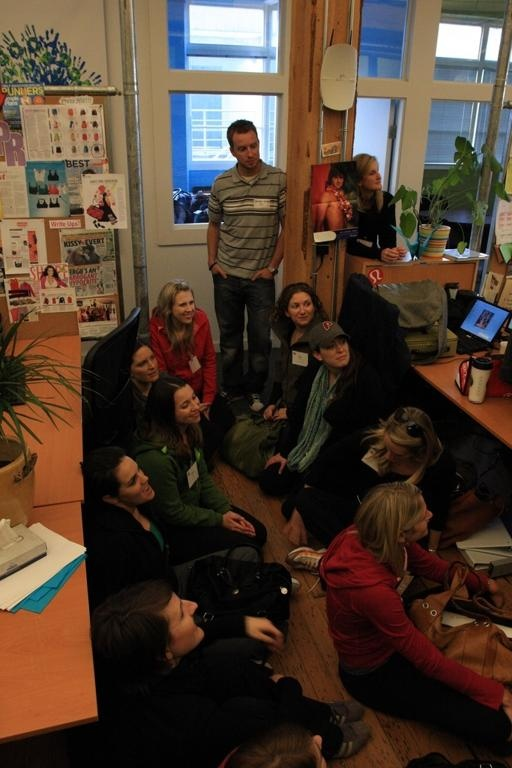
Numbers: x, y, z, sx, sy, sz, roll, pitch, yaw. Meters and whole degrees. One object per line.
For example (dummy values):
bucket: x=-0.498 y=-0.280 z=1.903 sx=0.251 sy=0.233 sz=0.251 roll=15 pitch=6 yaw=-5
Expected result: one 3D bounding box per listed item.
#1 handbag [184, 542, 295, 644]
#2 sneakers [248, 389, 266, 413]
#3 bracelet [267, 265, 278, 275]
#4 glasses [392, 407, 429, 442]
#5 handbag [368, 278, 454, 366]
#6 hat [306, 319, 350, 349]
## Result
handbag: x=-0.053 y=0.789 z=2.004 sx=0.324 sy=0.139 sz=0.294 roll=-1 pitch=29 yaw=-8
sneakers: x=0.014 y=0.151 z=4.100 sx=0.069 sy=0.082 sz=0.206 roll=-3 pitch=19 yaw=-10
bracelet: x=0.136 y=-0.863 z=3.967 sx=0.070 sy=0.017 sz=0.046 roll=25 pitch=49 yaw=12
glasses: x=0.606 y=0.148 z=2.047 sx=0.100 sy=0.105 sz=0.136 roll=35 pitch=20 yaw=-42
handbag: x=0.926 y=-0.402 z=3.154 sx=0.480 sy=0.457 sz=0.475 roll=-5 pitch=15 yaw=-9
hat: x=0.365 y=-0.242 z=2.701 sx=0.130 sy=0.102 sz=0.173 roll=-18 pitch=-5 yaw=-20
